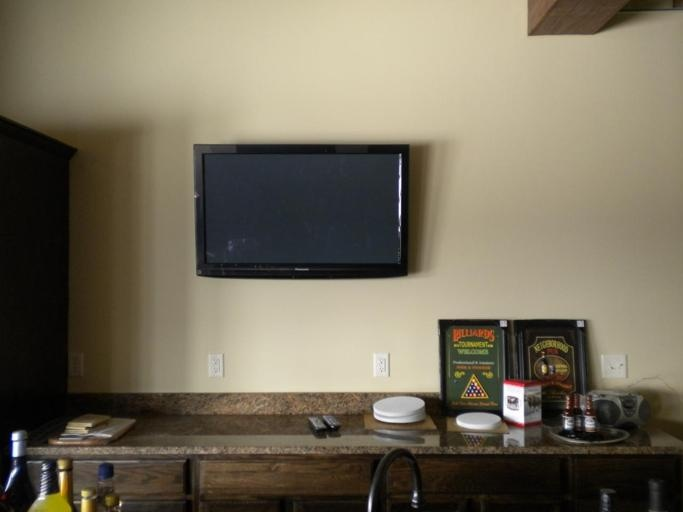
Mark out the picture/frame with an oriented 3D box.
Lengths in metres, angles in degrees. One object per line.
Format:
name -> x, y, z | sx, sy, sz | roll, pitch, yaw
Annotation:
picture/frame -> 0.924, 0.593, 3.273 | 0.796, 0.528, 0.035 | -3, -6, 1

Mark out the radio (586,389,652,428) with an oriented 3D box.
radio -> 1.439, 0.795, 3.207 | 0.337, 0.187, 0.299 | 2, -2, 0

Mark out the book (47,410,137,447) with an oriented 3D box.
book -> -1.219, 0.852, 2.985 | 0.341, 0.094, 0.269 | 6, 2, -13

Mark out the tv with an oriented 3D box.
tv -> -0.235, -0.258, 3.216 | 1.207, 0.667, 0.073 | 0, -2, 0
